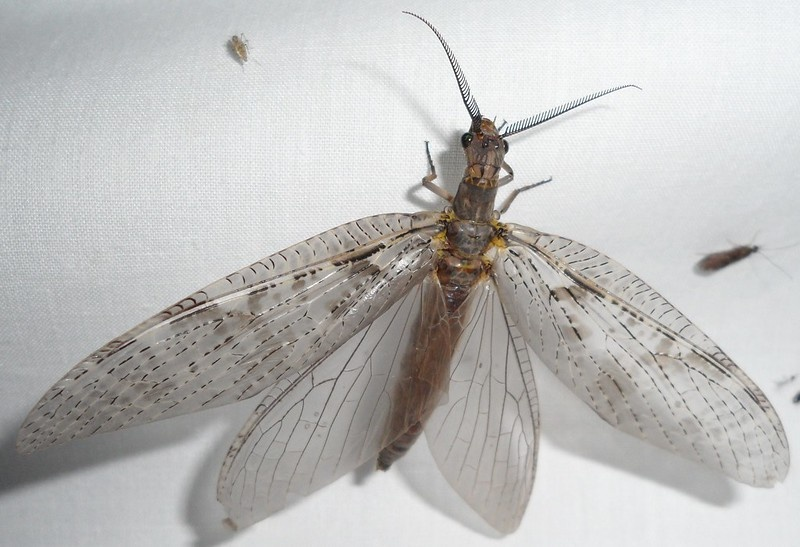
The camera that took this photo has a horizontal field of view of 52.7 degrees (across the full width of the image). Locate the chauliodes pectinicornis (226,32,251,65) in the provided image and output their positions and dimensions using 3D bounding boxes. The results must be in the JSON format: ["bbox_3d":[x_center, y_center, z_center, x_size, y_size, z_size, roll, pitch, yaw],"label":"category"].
[{"bbox_3d":[-0.572,-0.786,2.806,0.081,0.086,0.020,5,24,5],"label":"chauliodes pectinicornis"}]

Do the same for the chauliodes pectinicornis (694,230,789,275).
[{"bbox_3d":[1.222,-0.051,2.895,0.247,0.251,0.150,-3,25,-9],"label":"chauliodes pectinicornis"}]
